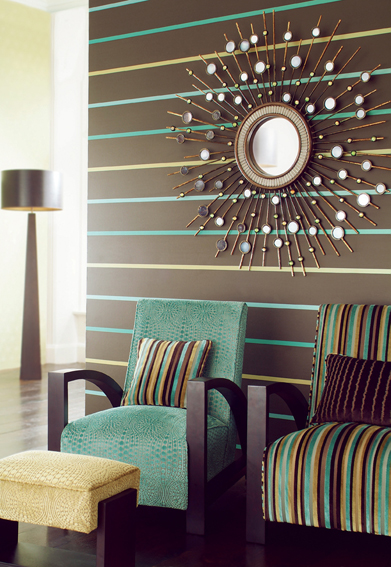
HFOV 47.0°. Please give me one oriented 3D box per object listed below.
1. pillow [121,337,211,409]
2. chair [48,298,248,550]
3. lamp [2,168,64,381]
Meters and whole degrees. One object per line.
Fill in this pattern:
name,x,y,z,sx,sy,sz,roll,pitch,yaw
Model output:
pillow,-0.121,0.374,1.879,0.327,0.307,0.089,-1,-21,34
chair,-0.110,0.450,1.909,0.713,0.950,0.849,-2,-4,25
lamp,-1.615,-0.042,4.385,0.544,2.002,0.712,1,-4,-26
